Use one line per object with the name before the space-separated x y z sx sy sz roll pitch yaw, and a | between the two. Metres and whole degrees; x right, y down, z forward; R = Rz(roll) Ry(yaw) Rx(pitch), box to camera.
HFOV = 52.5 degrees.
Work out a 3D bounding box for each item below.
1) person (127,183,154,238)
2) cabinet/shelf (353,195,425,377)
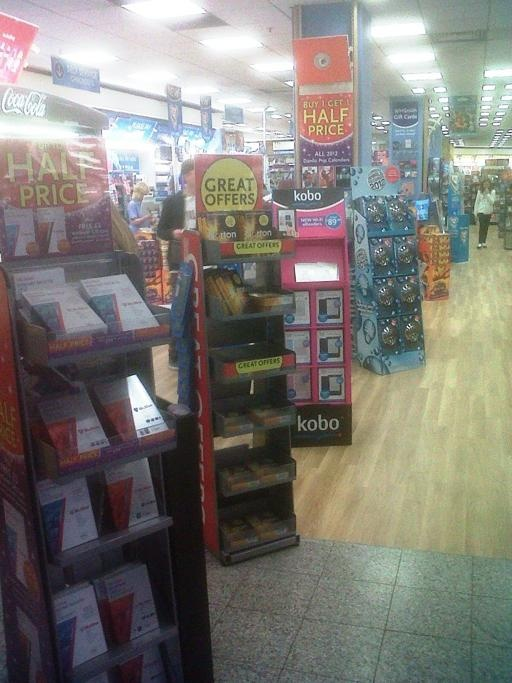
person | -2.114 -2.423 9.433 0.430 0.944 1.364 -5 11 -12
cabinet/shelf | 1.460 -0.619 5.692 0.754 1.886 0.549 -2 10 5
